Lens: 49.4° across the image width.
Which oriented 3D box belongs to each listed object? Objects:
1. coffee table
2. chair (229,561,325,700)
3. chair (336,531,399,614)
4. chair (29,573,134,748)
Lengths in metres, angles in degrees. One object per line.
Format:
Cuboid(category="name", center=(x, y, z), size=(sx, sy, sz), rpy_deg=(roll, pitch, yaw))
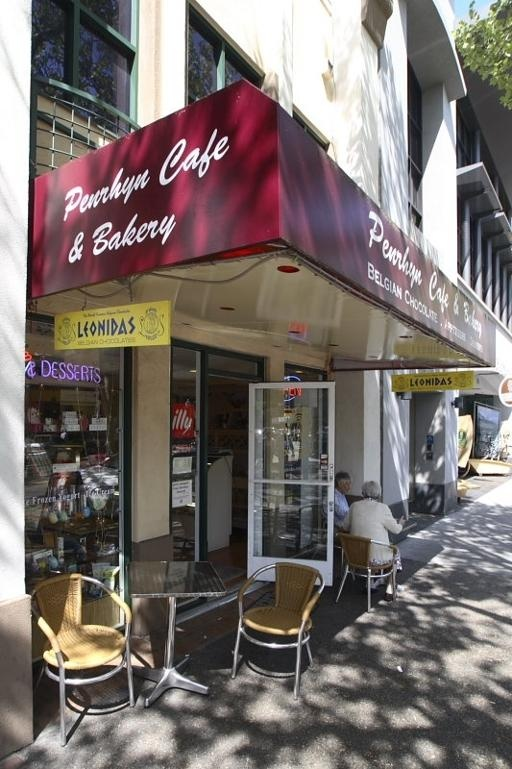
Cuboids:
Cuboid(category="coffee table", center=(-0.571, 1.640, 3.661), size=(0.579, 0.702, 0.703), rpy_deg=(4, -5, -17))
Cuboid(category="chair", center=(0.155, 1.740, 3.965), size=(0.547, 0.798, 0.625), rpy_deg=(4, -1, -11))
Cuboid(category="chair", center=(1.113, 1.817, 5.536), size=(0.480, 0.733, 0.543), rpy_deg=(1, 2, 3))
Cuboid(category="chair", center=(-1.038, 1.629, 3.344), size=(0.462, 0.870, 0.514), rpy_deg=(-6, 2, -34))
